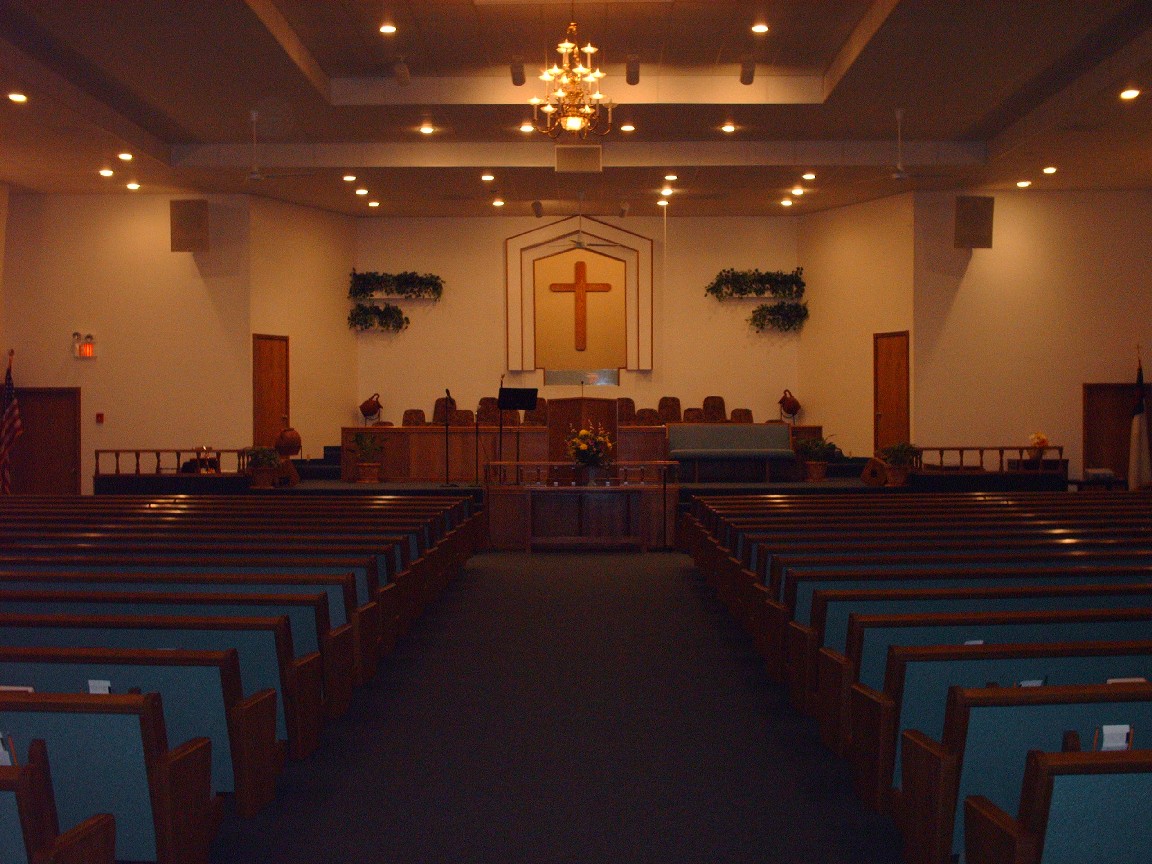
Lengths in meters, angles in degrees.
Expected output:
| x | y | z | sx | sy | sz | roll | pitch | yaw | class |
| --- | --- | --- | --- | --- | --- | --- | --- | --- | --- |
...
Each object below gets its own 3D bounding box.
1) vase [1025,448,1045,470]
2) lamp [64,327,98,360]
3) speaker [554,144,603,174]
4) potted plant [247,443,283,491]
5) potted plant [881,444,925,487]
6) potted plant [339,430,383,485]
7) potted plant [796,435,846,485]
| x | y | z | sx | sy | sz | roll | pitch | yaw | class |
| --- | --- | --- | --- | --- | --- | --- | --- | --- | --- |
| 6.259 | 0.326 | 13.457 | 0.287 | 0.330 | 0.311 | 0 | -2 | 24 | vase |
| -7.111 | -1.279 | 14.216 | 0.318 | 0.404 | 0.362 | -4 | -6 | -17 | lamp |
| 0.016 | -3.579 | 12.814 | 0.591 | 0.312 | 0.285 | 4 | 10 | 9 | speaker |
| -3.938 | 0.435 | 12.430 | 0.429 | 0.690 | 0.472 | 4 | -6 | -32 | potted plant |
| 4.103 | 0.392 | 12.470 | 0.420 | 0.591 | 0.507 | -2 | -2 | 24 | potted plant |
| -2.870 | 0.333 | 13.271 | 0.575 | 0.969 | 0.633 | 1 | 3 | -2 | potted plant |
| 3.341 | 0.317 | 13.743 | 0.709 | 0.835 | 0.606 | 1 | -7 | -10 | potted plant |
